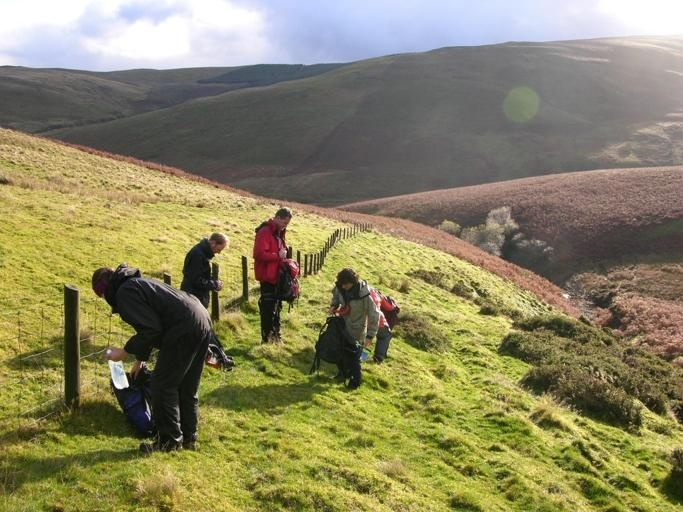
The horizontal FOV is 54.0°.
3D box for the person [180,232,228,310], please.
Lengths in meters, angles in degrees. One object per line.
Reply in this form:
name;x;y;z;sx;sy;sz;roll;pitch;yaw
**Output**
person;-4.527;0.599;22.231;1.136;3.050;1.264;-5;40;-23
